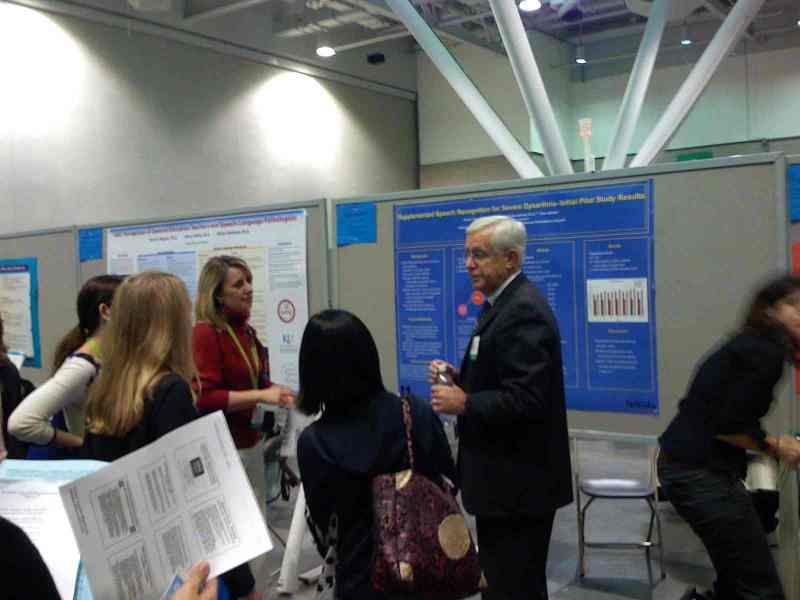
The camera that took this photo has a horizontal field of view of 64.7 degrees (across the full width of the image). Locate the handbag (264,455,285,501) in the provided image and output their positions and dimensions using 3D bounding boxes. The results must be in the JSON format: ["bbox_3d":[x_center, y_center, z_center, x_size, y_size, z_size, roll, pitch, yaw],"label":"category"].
[{"bbox_3d":[-0.834,1.143,4.141,0.106,0.311,0.109,3,17,-13],"label":"handbag"}]
